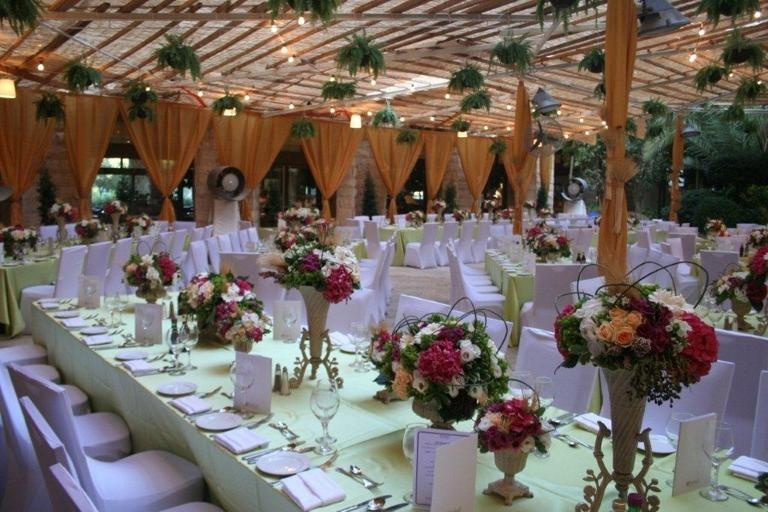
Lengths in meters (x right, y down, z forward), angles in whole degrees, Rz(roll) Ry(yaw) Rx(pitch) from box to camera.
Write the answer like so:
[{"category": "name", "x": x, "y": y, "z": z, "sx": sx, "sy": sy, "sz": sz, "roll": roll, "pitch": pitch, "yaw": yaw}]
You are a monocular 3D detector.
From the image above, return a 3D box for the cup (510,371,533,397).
[{"category": "cup", "x": 0.689, "y": 0.649, "z": 2.845, "sx": 0.102, "sy": 0.115, "sz": 0.105, "roll": 2, "pitch": -3, "yaw": 0}]

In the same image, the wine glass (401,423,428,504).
[{"category": "wine glass", "x": 0.147, "y": 0.958, "z": 2.670, "sx": 0.110, "sy": 0.343, "sz": 0.280, "roll": 0, "pitch": 1, "yaw": 3}]

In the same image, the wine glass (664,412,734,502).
[{"category": "wine glass", "x": 1.487, "y": 0.970, "z": 2.649, "sx": 0.321, "sy": 0.333, "sz": 0.228, "roll": -3, "pitch": 10, "yaw": -30}]

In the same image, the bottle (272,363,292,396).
[{"category": "bottle", "x": -0.619, "y": 0.756, "z": 3.383, "sx": 0.097, "sy": 0.185, "sz": 0.152, "roll": 2, "pitch": 0, "yaw": -44}]

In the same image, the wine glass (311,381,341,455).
[{"category": "wine glass", "x": -0.308, "y": 0.810, "z": 2.898, "sx": 0.127, "sy": 0.382, "sz": 0.266, "roll": 0, "pitch": 1, "yaw": -6}]

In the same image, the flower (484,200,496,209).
[{"category": "flower", "x": 3.460, "y": -1.702, "z": 18.635, "sx": 0.472, "sy": 0.219, "sz": 0.688, "roll": 1, "pitch": 9, "yaw": -1}]

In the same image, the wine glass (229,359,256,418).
[{"category": "wine glass", "x": -0.810, "y": 0.733, "z": 3.128, "sx": 0.194, "sy": 0.301, "sz": 0.097, "roll": 0, "pitch": 1, "yaw": 41}]

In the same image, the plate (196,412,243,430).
[{"category": "plate", "x": -0.898, "y": 0.906, "z": 3.042, "sx": 0.240, "sy": 0.062, "sz": 0.165, "roll": 0, "pitch": 0, "yaw": 23}]

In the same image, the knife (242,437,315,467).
[{"category": "knife", "x": -0.548, "y": 0.952, "z": 2.808, "sx": 0.318, "sy": 0.020, "sz": 0.125, "roll": -6, "pitch": 22, "yaw": -44}]

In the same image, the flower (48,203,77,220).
[{"category": "flower", "x": -5.225, "y": -0.717, "z": 9.053, "sx": 0.348, "sy": 0.338, "sz": 0.356, "roll": -11, "pitch": 27, "yaw": -33}]

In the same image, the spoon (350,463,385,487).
[{"category": "spoon", "x": -0.102, "y": 1.062, "z": 2.674, "sx": 0.055, "sy": 0.044, "sz": 0.240, "roll": -5, "pitch": 12, "yaw": -22}]

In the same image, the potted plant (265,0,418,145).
[{"category": "potted plant", "x": -0.621, "y": -2.462, "z": 7.034, "sx": 0.999, "sy": 1.493, "sz": 3.646, "roll": -2, "pitch": -6, "yaw": -14}]

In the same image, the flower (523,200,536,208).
[{"category": "flower", "x": 3.283, "y": -1.157, "z": 12.589, "sx": 0.314, "sy": 0.180, "sz": 0.315, "roll": 2, "pitch": 5, "yaw": -45}]

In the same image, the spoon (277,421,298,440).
[{"category": "spoon", "x": -0.513, "y": 0.915, "z": 2.980, "sx": 0.048, "sy": 0.051, "sz": 0.164, "roll": -6, "pitch": 12, "yaw": -28}]
